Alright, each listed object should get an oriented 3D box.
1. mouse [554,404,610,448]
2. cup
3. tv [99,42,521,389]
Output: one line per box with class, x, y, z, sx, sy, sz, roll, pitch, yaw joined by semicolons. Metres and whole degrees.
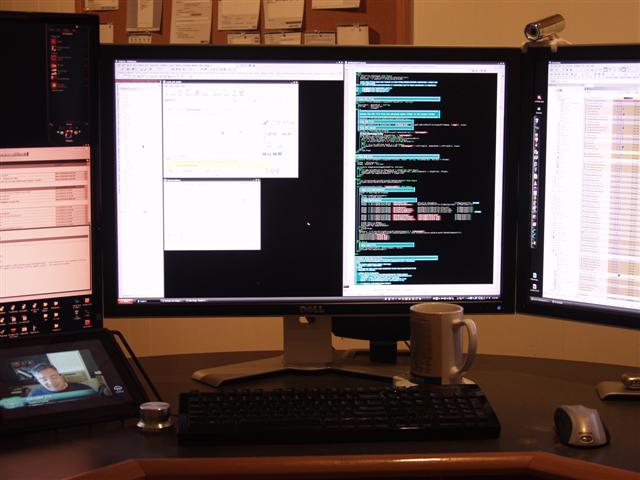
mouse;0.449;0.324;1.100;0.088;0.051;0.071;2;13;23
cup;0.288;0.210;1.324;0.110;0.158;0.175;-3;6;-27
tv;-0.016;-0.076;1.342;0.776;0.599;0.181;0;4;-3
